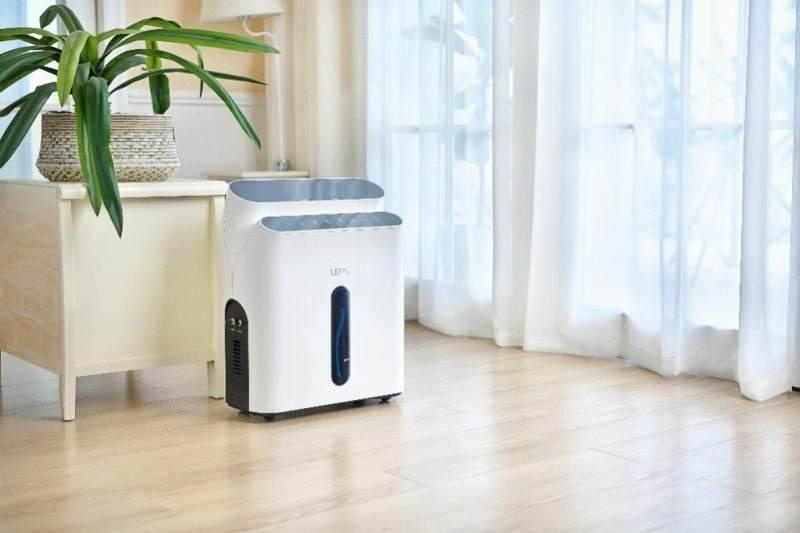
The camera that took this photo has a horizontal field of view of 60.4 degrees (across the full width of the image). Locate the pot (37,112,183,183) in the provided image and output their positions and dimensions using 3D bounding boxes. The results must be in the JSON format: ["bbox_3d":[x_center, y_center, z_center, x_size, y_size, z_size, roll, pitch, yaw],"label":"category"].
[{"bbox_3d":[-0.919,-0.374,2.154,0.265,0.215,0.344,9,14,41],"label":"pot"}]

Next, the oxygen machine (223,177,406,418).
[{"bbox_3d":[-0.261,0.088,2.167,0.535,0.634,0.376,-3,7,-26],"label":"oxygen machine"}]
